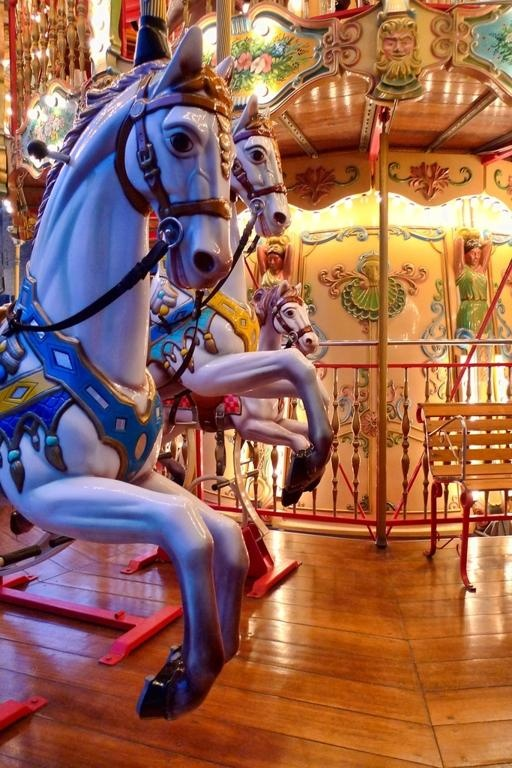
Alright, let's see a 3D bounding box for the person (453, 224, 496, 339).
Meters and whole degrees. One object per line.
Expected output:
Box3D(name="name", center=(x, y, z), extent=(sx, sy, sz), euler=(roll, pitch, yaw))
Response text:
Box3D(name="person", center=(2.034, -0.929, 5.231), extent=(0.437, 1.016, 0.155), euler=(1, -1, -17))
